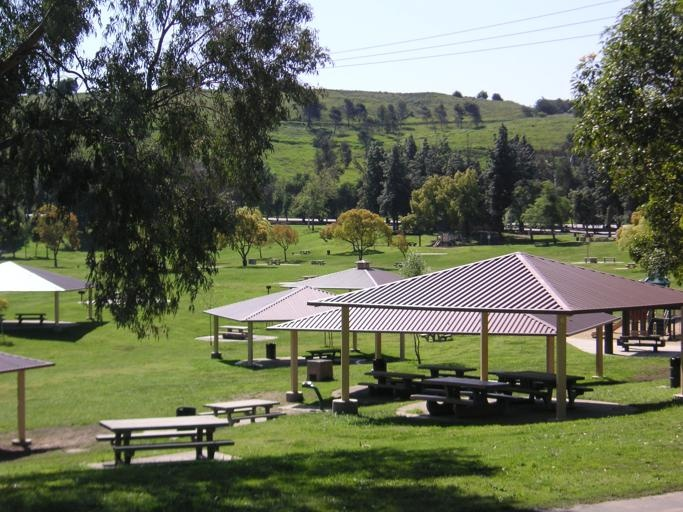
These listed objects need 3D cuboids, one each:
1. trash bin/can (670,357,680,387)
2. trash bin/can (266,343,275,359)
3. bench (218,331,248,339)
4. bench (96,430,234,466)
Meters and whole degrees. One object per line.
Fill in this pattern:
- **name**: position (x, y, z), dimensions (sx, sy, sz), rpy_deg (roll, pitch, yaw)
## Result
- **trash bin/can**: position (11.864, 4.186, 48.027), dimensions (0.341, 1.024, 0.734), rpy_deg (-1, -2, 15)
- **trash bin/can**: position (-3.236, 4.368, 60.821), dimensions (0.425, 0.710, 0.786), rpy_deg (-1, -2, -4)
- **bench**: position (-5.580, 4.186, 69.599), dimensions (1.262, 0.373, 1.931), rpy_deg (-1, -2, -8)
- **bench**: position (-5.507, 5.706, 40.519), dimensions (2.273, 0.673, 1.604), rpy_deg (1, 2, -20)
